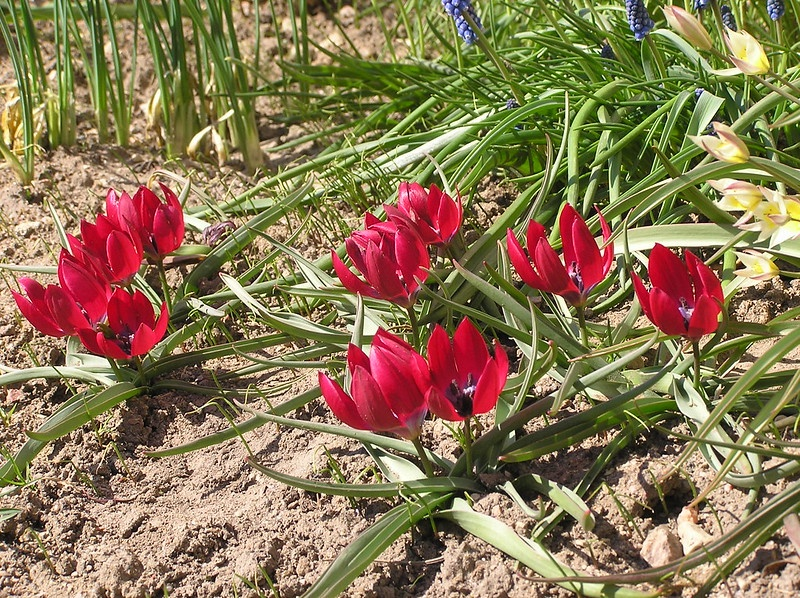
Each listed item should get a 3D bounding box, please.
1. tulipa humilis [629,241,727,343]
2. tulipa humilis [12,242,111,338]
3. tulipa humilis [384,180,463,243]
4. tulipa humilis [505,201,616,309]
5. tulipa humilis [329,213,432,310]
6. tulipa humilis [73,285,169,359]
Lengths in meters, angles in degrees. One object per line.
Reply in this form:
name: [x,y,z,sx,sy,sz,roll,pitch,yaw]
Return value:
tulipa humilis: [0.639,-0.013,1.958,0.194,0.223,0.213,-9,23,0]
tulipa humilis: [-0.929,-0.012,2.393,0.212,0.233,0.229,8,28,36]
tulipa humilis: [0.054,-0.254,2.345,0.153,0.128,0.191,-28,56,-15]
tulipa humilis: [0.448,-0.078,2.183,0.235,0.301,0.265,-9,17,-16]
tulipa humilis: [-0.044,-0.107,2.254,0.191,0.251,0.243,-33,16,9]
tulipa humilis: [-0.771,0.105,2.392,0.215,0.166,0.195,-8,20,-24]
